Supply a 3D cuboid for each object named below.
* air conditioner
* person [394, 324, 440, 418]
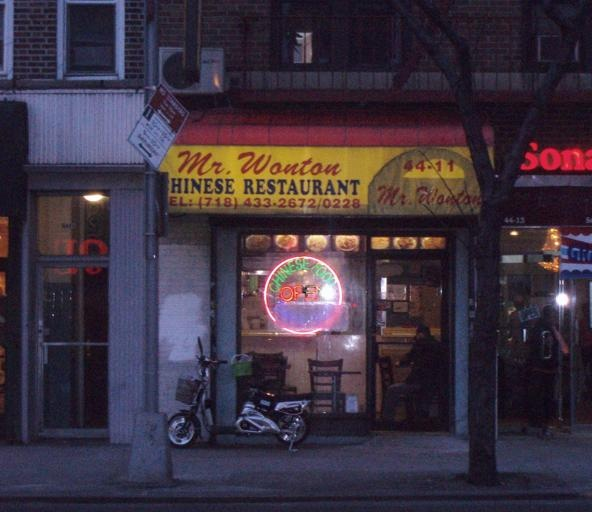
[{"bbox_3d":[-1.643,-2.821,22.661,1.184,0.827,0.662,0,-2,2],"label":"air conditioner"},{"bbox_3d":[1.922,1.792,23.074,0.605,1.482,0.188,1,-7,-1],"label":"person"}]
